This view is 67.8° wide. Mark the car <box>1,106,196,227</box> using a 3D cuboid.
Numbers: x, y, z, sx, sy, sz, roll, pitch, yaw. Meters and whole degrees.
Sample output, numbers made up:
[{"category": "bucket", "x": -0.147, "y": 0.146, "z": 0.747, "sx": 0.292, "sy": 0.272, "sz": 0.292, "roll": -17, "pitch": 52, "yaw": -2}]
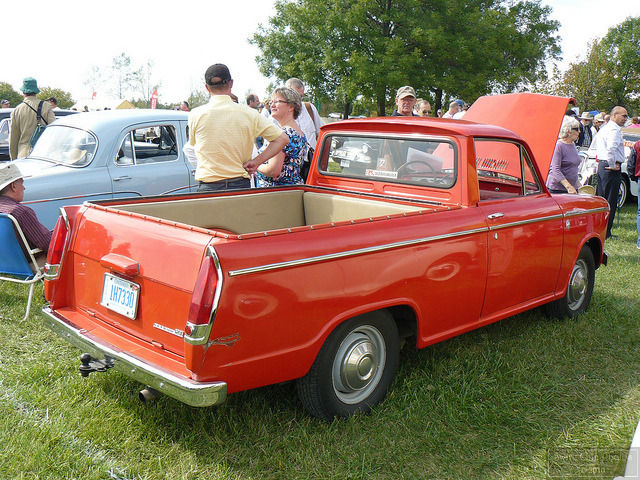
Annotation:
[{"category": "car", "x": -3.183, "y": -1.201, "z": 6.933, "sx": 3.051, "sy": 1.470, "sz": 1.760, "roll": -13, "pitch": 19, "yaw": -38}]

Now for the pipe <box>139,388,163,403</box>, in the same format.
[{"category": "pipe", "x": -1.064, "y": 0.972, "z": 3.016, "sx": 0.047, "sy": 0.076, "sz": 0.120, "roll": 37, "pitch": 20, "yaw": 33}]

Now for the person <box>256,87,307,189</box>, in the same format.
[{"category": "person", "x": -0.434, "y": -1.126, "z": 5.339, "sx": 0.561, "sy": 1.142, "sz": 0.711, "roll": 7, "pitch": 13, "yaw": 14}]

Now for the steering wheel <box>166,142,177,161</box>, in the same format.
[{"category": "steering wheel", "x": -2.262, "y": -1.396, "z": 7.329, "sx": 0.125, "sy": 0.138, "sz": 0.151, "roll": -2, "pitch": 31, "yaw": 12}]

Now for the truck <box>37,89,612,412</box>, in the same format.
[{"category": "truck", "x": 0.524, "y": -0.073, "z": 4.632, "sx": 4.970, "sy": 2.485, "sz": 2.685, "roll": -12, "pitch": 16, "yaw": -38}]
